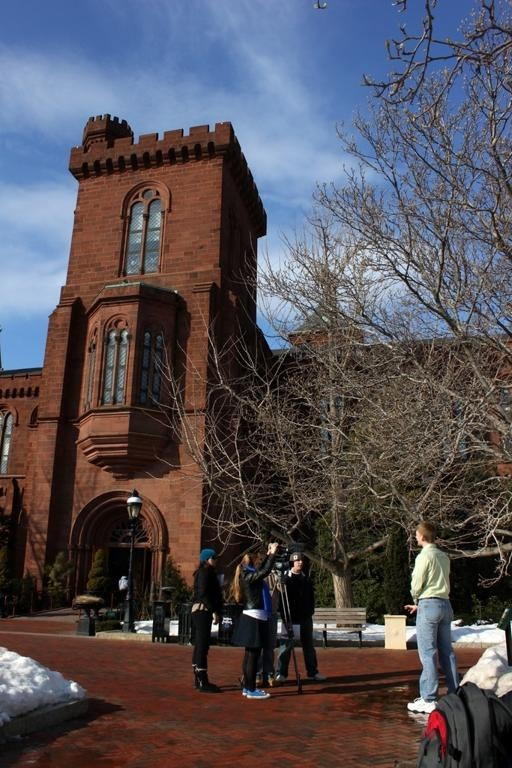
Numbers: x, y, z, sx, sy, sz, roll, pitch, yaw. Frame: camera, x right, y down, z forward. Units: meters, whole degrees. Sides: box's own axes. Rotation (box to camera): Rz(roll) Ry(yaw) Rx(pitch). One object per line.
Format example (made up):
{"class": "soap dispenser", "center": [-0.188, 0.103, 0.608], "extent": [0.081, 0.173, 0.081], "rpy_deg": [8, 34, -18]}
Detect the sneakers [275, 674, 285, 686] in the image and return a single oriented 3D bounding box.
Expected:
{"class": "sneakers", "center": [0.287, 3.556, 6.984], "extent": [0.110, 0.097, 0.359], "rpy_deg": [-2, -14, 9]}

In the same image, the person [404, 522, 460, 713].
{"class": "person", "center": [1.527, 2.109, 5.224], "extent": [0.456, 1.700, 1.263], "rpy_deg": [-4, -14, 17]}

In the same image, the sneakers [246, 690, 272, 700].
{"class": "sneakers", "center": [0.031, 3.148, 5.927], "extent": [0.279, 0.111, 0.102], "rpy_deg": [0, -13, 1]}

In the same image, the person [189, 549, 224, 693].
{"class": "person", "center": [-0.552, 2.642, 6.577], "extent": [0.322, 1.499, 0.808], "rpy_deg": [2, -14, -5]}

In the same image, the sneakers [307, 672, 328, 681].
{"class": "sneakers", "center": [0.755, 3.562, 7.078], "extent": [0.252, 0.114, 0.109], "rpy_deg": [-1, -8, 10]}

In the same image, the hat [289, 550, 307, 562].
{"class": "hat", "center": [0.480, 2.091, 7.032], "extent": [0.139, 0.131, 0.432], "rpy_deg": [-2, -14, 10]}

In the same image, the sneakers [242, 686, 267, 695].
{"class": "sneakers", "center": [-0.004, 3.131, 5.934], "extent": [0.277, 0.111, 0.101], "rpy_deg": [1, -15, 3]}
